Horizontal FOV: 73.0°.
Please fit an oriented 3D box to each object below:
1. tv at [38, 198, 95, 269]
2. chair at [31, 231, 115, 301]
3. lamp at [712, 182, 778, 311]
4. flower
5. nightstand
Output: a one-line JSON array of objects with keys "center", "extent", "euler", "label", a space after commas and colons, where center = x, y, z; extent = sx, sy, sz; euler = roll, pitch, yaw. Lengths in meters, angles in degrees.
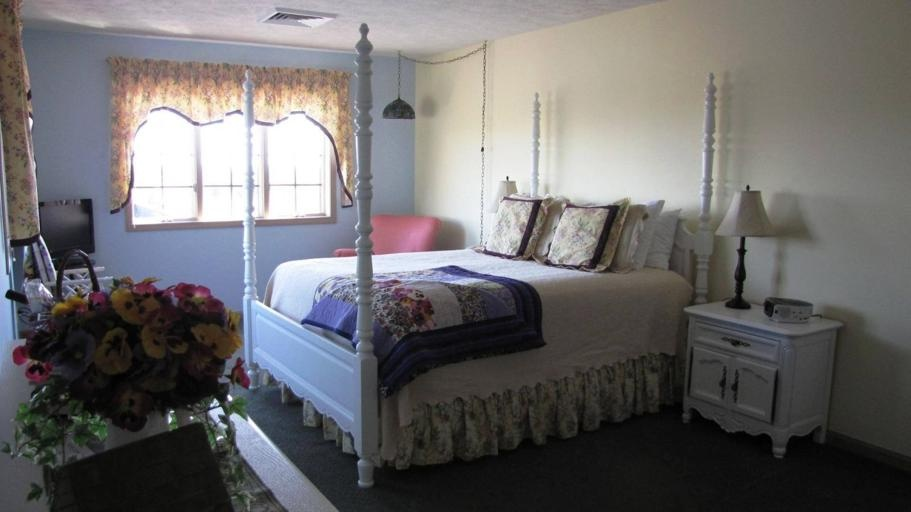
[{"center": [-3.999, -0.237, 6.371], "extent": [0.753, 0.655, 0.228], "euler": [-5, 2, 18], "label": "tv"}, {"center": [-1.946, 0.121, 3.133], "extent": [0.256, 0.248, 0.193], "euler": [-4, 10, -41], "label": "chair"}, {"center": [2.410, -0.076, 5.135], "extent": [0.417, 0.999, 0.436], "euler": [5, 12, 28], "label": "lamp"}, {"center": [-1.469, 0.415, 2.793], "extent": [0.771, 0.458, 0.741], "euler": [1, -1, 21], "label": "flower"}, {"center": [2.490, 0.994, 5.118], "extent": [0.765, 0.882, 1.027], "euler": [-1, 5, -39], "label": "nightstand"}]
